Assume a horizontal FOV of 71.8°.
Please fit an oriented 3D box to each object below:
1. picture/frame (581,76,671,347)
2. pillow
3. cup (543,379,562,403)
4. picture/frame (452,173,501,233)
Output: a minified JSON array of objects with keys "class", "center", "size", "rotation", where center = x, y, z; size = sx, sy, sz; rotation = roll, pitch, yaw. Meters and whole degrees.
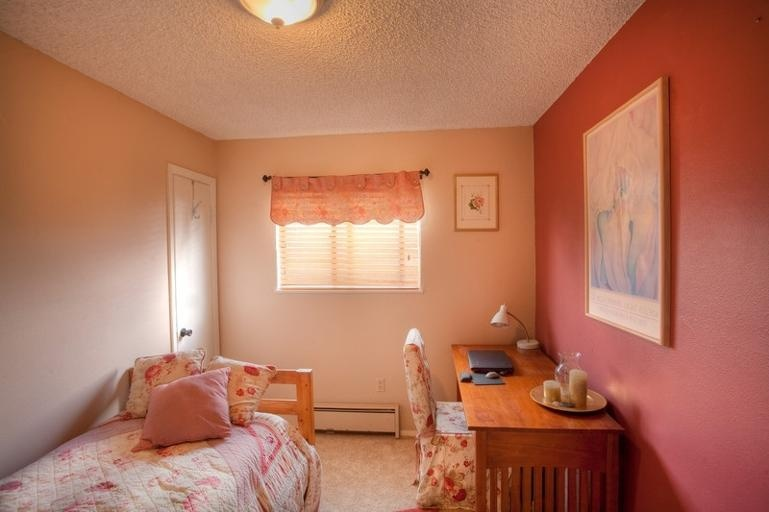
[{"class":"picture/frame","center":[1.456,-0.226,3.180],"size":[0.056,1.486,0.636],"rotation":[-1,-3,-22]},{"class":"pillow","center":[-1.218,0.930,3.478],"size":[0.632,0.185,0.617],"rotation":[8,32,-11]},{"class":"cup","center":[1.078,0.872,3.428],"size":[0.116,0.121,0.112],"rotation":[-5,1,0]},{"class":"picture/frame","center":[0.799,-0.464,4.532],"size":[0.515,0.667,0.034],"rotation":[0,-2,2]}]
